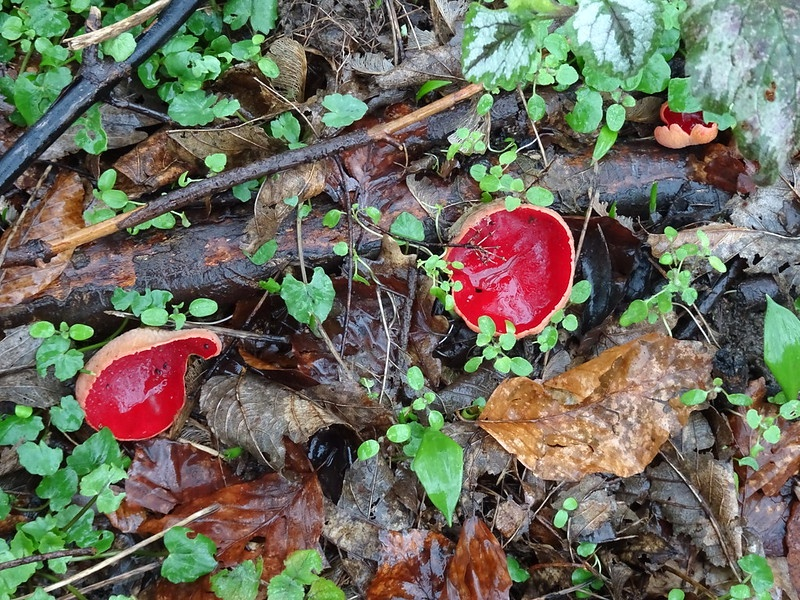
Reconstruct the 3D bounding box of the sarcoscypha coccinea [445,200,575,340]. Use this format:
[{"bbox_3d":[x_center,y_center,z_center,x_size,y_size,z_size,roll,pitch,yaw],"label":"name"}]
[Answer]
[{"bbox_3d":[0.478,-0.116,3.291,0.566,0.425,0.559,9,73,5],"label":"sarcoscypha coccinea"}]
